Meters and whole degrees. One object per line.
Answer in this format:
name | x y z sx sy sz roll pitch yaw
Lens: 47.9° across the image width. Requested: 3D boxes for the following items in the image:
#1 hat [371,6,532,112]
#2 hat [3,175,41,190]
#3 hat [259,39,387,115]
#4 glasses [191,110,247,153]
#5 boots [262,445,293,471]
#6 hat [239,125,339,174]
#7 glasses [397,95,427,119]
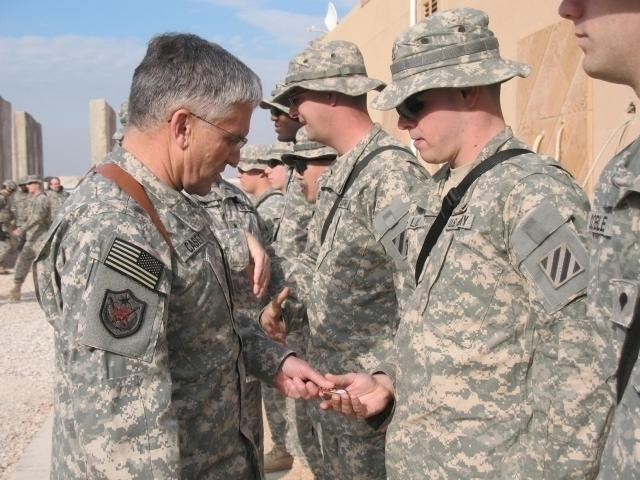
hat | 0.591 -0.844 3.353 0.591 0.305 0.540 -10 11 8
hat | -7.091 -1.370 16.962 0.581 0.247 0.789 -1 3 27
hat | 0.073 -1.077 4.492 0.626 0.391 0.405 1 5 -4
glasses | -0.417 -0.463 3.062 0.073 0.138 0.278 6 7 43
boots | -0.321 1.712 5.685 0.314 0.212 0.112 4 -2 -17
hat | -0.328 -0.755 5.868 0.802 0.234 0.624 -7 -2 39
glasses | 0.422 -0.614 3.366 0.117 0.062 0.090 -37 -6 -26
